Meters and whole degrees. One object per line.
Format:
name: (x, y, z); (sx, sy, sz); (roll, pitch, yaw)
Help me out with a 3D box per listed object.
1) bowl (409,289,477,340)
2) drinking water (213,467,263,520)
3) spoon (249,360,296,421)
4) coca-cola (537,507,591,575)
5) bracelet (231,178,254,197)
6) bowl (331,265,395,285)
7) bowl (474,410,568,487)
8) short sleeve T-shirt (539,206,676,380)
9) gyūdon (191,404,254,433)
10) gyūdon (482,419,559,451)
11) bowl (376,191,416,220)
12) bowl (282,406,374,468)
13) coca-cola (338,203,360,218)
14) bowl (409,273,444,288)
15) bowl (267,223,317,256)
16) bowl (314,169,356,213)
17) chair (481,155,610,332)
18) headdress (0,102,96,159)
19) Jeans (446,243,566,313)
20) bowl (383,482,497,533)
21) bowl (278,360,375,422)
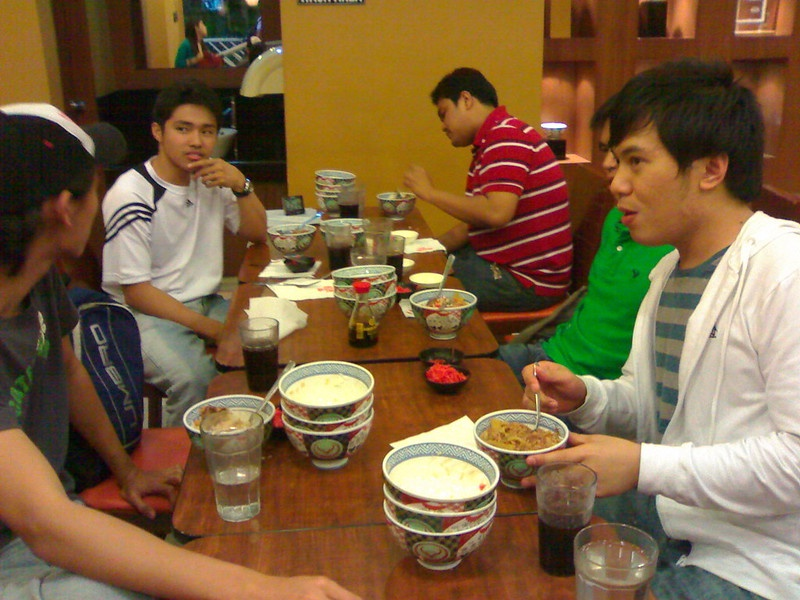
bowl: (0.144, 0.028, 2.037); (0.186, 0.111, 0.184); (-3, 21, 1)
drinking water: (-0.340, 0.407, 1.373); (0.103, 0.115, 0.107); (-3, 4, -15)
spoon: (-0.315, 0.230, 1.565); (0.045, 0.191, 0.029); (21, -12, 45)
coca-cola: (0.299, 0.464, 1.252); (0.115, 0.127, 0.114); (-1, 17, -1)
bracelet: (-0.788, -0.564, 3.139); (0.100, 0.070, 0.110); (-27, -3, 31)
bowl: (-0.126, -0.097, 2.262); (0.125, 0.051, 0.121); (-10, 11, 2)
bowl: (0.274, 0.325, 1.442); (0.176, 0.099, 0.174); (0, 15, 0)
short sleeve T-shirt: (0.754, -0.022, 2.337); (0.359, 0.610, 0.615); (8, 17, -4)
gyūdon: (-0.393, 0.273, 1.431); (0.087, 0.039, 0.084); (3, 11, 8)
gyūdon: (0.271, 0.317, 1.438); (0.088, 0.031, 0.090); (9, 14, 35)
bowl: (-0.020, -0.538, 3.560); (0.176, 0.106, 0.173); (-2, 16, 1)
bowl: (-0.164, 0.303, 1.435); (0.153, 0.091, 0.155); (-1, 11, 0)
coca-cola: (-0.259, -0.453, 3.173); (0.077, 0.080, 0.079); (13, 21, 31)
bowl: (0.099, -0.080, 2.502); (0.078, 0.021, 0.079); (0, 21, 0)
bowl: (-0.467, -0.282, 2.789); (0.170, 0.091, 0.165); (-1, 10, 0)
bowl: (-0.382, -0.640, 3.614); (0.239, 0.218, 0.259); (0, 15, 0)
chair: (0.706, -0.271, 3.188); (0.638, 0.813, 0.553); (-6, 36, -4)
headdress: (-0.731, -0.364, 1.311); (0.108, 0.042, 0.152); (15, -3, 16)
Jeans: (0.573, -0.070, 3.440); (0.565, 0.167, 0.308); (23, -14, -6)
bowl: (0.073, 0.395, 1.176); (0.210, 0.049, 0.085); (-2, 24, 4)
bowl: (-0.179, 0.217, 1.523); (0.154, 0.063, 0.152); (-3, 24, 1)
